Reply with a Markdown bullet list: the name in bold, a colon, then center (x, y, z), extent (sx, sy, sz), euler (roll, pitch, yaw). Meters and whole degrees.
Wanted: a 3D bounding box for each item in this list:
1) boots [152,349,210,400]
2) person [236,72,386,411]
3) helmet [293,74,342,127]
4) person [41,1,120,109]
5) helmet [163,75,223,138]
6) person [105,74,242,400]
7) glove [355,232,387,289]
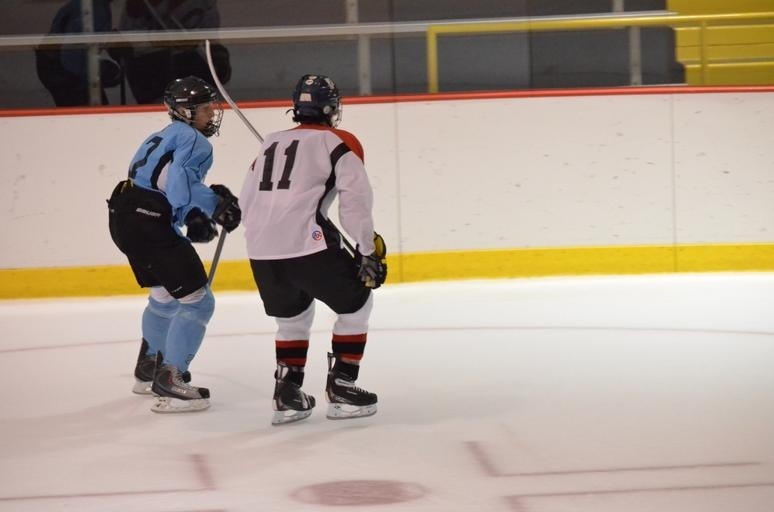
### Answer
- **boots**: center (-1.353, 0.836, 6.343), extent (0.485, 0.255, 0.148), euler (6, 11, 24)
- **person**: center (-0.472, 0.117, 6.130), extent (0.914, 1.878, 0.529), euler (-2, 14, -7)
- **helmet**: center (-0.524, -1.055, 6.341), extent (0.333, 0.309, 0.378), euler (4, 11, 11)
- **person**: center (-3.217, -2.105, 9.965), extent (0.971, 1.000, 0.517), euler (0, 3, 3)
- **helmet**: center (-1.366, -1.099, 6.664), extent (0.571, 0.433, 0.372), euler (3, 27, -8)
- **person**: center (-1.431, -0.093, 6.404), extent (0.853, 2.210, 0.791), euler (-4, 14, -15)
- **glove**: center (-0.090, 0.035, 6.088), extent (0.255, 0.327, 0.149), euler (-11, 2, -23)
